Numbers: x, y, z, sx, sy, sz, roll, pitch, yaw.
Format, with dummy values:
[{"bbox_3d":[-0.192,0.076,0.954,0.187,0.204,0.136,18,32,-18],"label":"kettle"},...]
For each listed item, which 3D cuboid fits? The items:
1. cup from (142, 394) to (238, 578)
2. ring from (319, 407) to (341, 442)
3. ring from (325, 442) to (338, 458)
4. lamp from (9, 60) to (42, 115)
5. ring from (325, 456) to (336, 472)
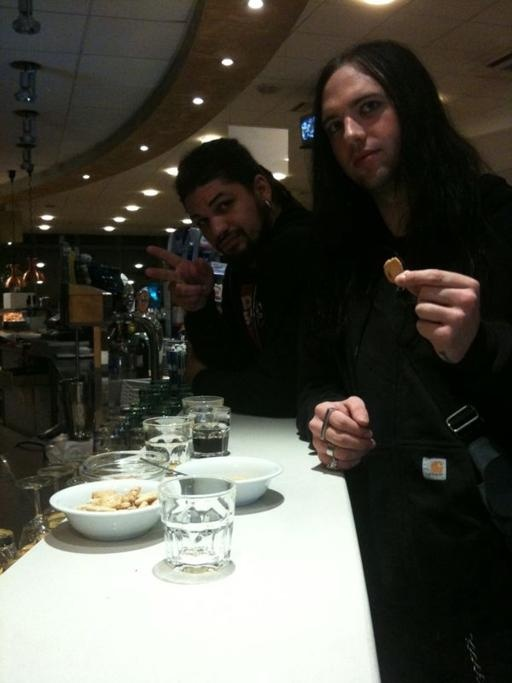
[{"bbox_3d":[-0.055,0.193,0.629,0.110,0.118,0.106,1,9,0],"label":"cup"},{"bbox_3d":[0.155,0.170,1.115,0.014,0.049,0.051,5,-10,23],"label":"ring"},{"bbox_3d":[0.149,0.220,1.083,0.008,0.022,0.022,2,-5,-43],"label":"ring"},{"bbox_3d":[-1.549,-1.721,3.667,0.180,0.277,0.182,16,25,11],"label":"lamp"},{"bbox_3d":[0.148,0.246,1.088,0.018,0.025,0.009,13,10,29],"label":"ring"}]
